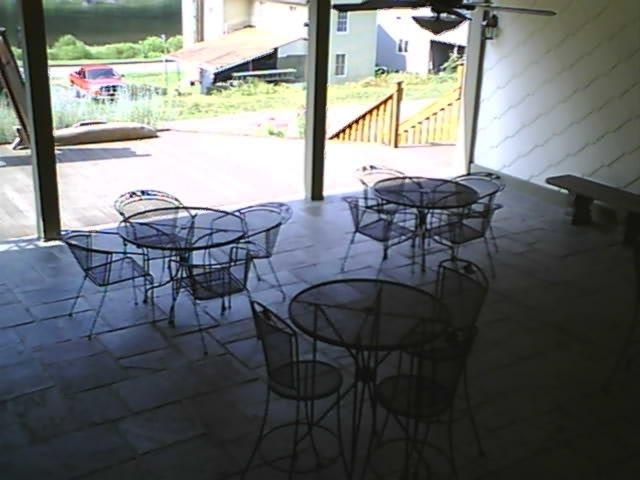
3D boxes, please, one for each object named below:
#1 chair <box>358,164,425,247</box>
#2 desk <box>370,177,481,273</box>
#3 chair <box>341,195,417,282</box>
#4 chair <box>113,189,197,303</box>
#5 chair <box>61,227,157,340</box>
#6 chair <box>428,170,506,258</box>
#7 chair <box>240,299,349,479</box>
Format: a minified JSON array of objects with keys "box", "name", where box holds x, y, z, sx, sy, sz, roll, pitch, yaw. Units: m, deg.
[{"box":[0.813,-0.367,6.211,0.818,0.968,0.785,9,41,18],"name":"chair"},{"box":[1.154,-0.063,5.729,1.141,0.699,1.050,10,-9,-3],"name":"desk"},{"box":[0.737,-0.025,6.050,0.907,0.879,0.779,0,24,-15],"name":"chair"},{"box":[-1.651,0.094,5.345,0.787,0.933,0.810,35,43,30],"name":"chair"},{"box":[-1.896,0.350,4.903,0.719,0.800,0.627,-14,23,-31],"name":"chair"},{"box":[1.682,-0.253,6.135,0.764,0.916,0.772,-18,40,-22],"name":"chair"},{"box":[-0.165,0.883,3.497,0.660,1.042,0.740,0,22,-3],"name":"chair"}]
